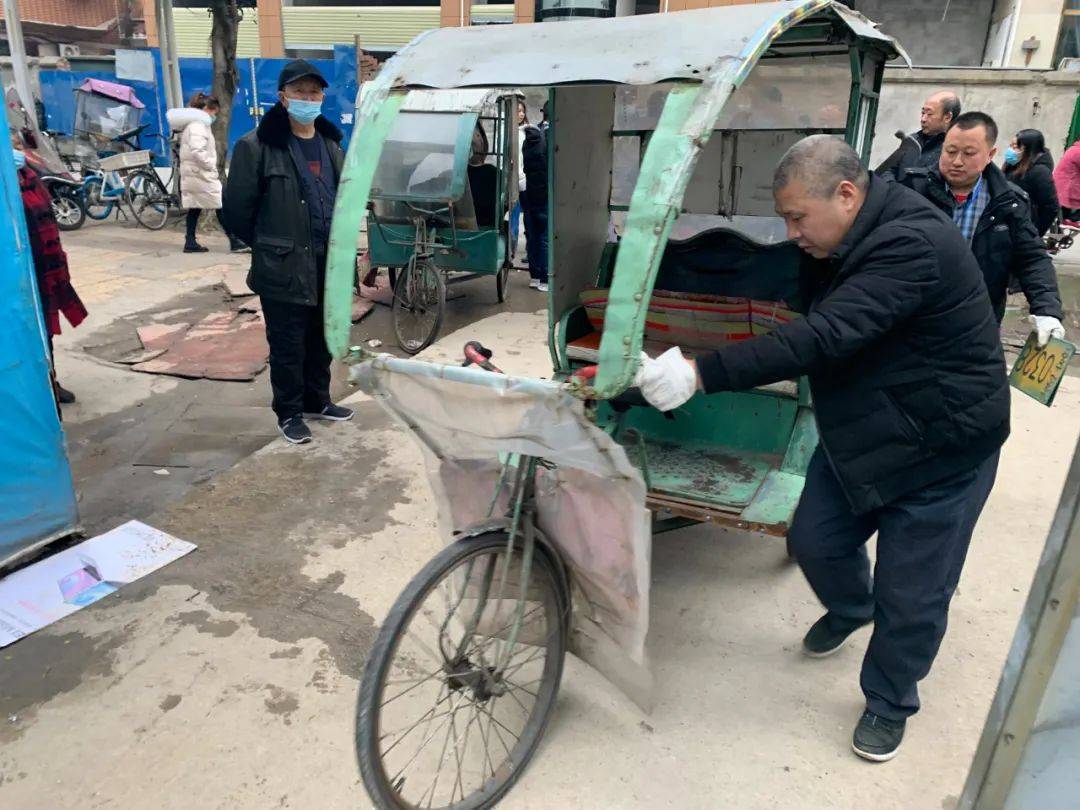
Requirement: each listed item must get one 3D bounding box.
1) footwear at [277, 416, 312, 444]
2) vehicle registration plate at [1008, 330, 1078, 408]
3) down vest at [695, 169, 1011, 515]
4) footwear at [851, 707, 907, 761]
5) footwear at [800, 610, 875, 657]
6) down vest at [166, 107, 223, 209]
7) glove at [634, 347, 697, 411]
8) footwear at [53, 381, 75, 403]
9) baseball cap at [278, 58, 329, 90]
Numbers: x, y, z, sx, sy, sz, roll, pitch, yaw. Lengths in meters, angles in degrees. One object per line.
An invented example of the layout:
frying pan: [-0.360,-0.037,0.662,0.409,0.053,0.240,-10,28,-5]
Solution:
footwear: [-1.490,0.145,5.017,0.108,0.118,0.271,-21,26,-33]
vehicle registration plate: [2.066,-0.141,3.415,0.186,0.336,0.402,15,26,28]
down vest: [1.074,-0.243,3.138,1.293,1.231,0.903,-8,20,16]
footwear: [1.242,1.192,3.010,0.114,0.092,0.242,15,27,39]
footwear: [1.215,0.939,3.340,0.335,0.128,0.108,-24,46,-11]
down vest: [-3.887,-2.744,9.277,0.440,1.077,0.825,-8,25,-21]
glove: [0.400,-0.076,2.584,0.183,0.192,0.211,7,24,12]
footwear: [-3.054,-0.074,5.261,0.141,0.037,0.141,31,27,19]
baseball cap: [-1.318,-1.792,4.544,0.202,0.133,0.271,-18,15,-33]
